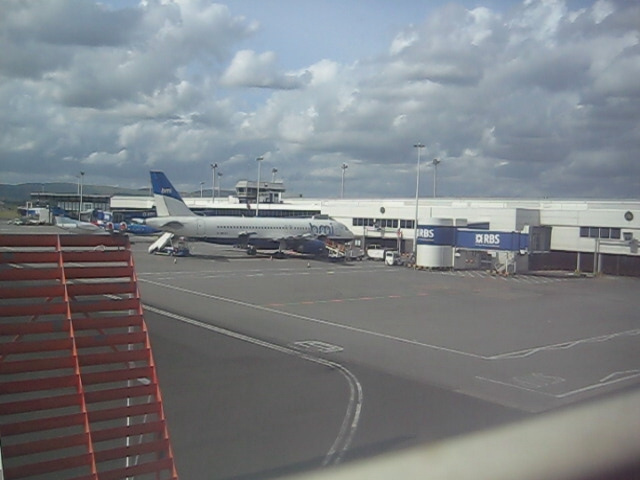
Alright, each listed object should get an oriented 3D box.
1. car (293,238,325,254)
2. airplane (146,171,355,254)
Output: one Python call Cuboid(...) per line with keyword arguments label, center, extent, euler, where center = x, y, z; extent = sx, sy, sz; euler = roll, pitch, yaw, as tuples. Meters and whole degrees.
Cuboid(label="car", center=(-1.283, 0.651, 60.784), extent=(2.989, 1.436, 1.568), euler=(1, -3, -8))
Cuboid(label="airplane", center=(-8.012, -2.693, 59.364), extent=(20.266, 8.648, 6.027), euler=(-2, 3, -20))
